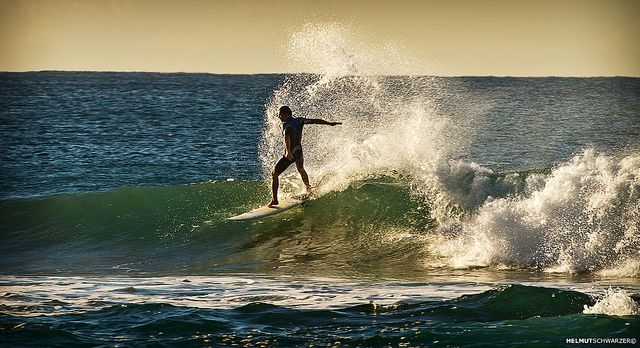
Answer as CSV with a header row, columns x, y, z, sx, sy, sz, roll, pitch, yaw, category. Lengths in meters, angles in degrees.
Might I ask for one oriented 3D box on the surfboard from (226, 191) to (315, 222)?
x,y,z,sx,sy,sz,roll,pitch,yaw,category
-1.944,1.357,30.863,2.807,0.235,0.560,-17,34,-18,surfboard
